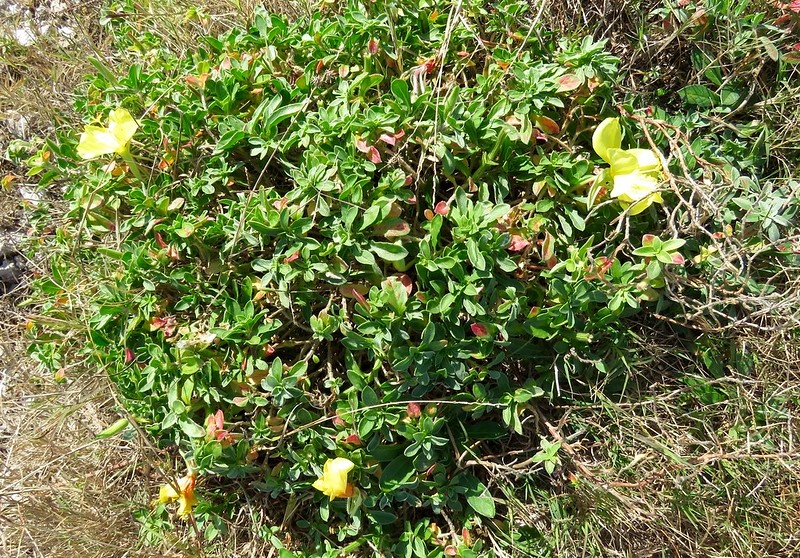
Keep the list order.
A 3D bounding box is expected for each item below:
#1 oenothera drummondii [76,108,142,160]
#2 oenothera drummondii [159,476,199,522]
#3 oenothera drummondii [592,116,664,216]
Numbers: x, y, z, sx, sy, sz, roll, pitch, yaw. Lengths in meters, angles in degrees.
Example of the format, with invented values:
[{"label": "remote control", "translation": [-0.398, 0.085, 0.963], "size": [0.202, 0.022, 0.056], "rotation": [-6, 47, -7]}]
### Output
[{"label": "oenothera drummondii", "translation": [-1.023, -0.497, 2.323], "size": [0.171, 0.194, 0.097], "rotation": [-2, -10, 12]}, {"label": "oenothera drummondii", "translation": [-0.730, 0.721, 2.207], "size": [0.138, 0.052, 0.087], "rotation": [29, 18, -21]}, {"label": "oenothera drummondii", "translation": [0.748, -0.361, 2.205], "size": [0.242, 0.310, 0.255], "rotation": [4, -10, 10]}]
